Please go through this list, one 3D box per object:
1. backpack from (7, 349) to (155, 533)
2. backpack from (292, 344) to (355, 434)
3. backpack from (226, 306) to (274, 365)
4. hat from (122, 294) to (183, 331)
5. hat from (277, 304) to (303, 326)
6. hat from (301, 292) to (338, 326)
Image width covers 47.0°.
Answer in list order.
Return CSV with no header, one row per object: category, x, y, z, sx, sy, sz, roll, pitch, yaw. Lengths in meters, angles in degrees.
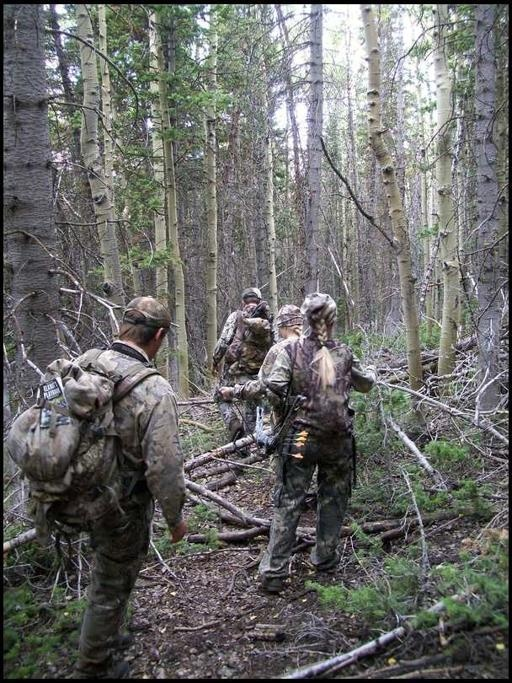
backpack,-0.995,0.597,3.389,0.361,0.988,0.691,0,2,44
backpack,0.495,0.332,4.466,0.483,0.694,0.265,-2,2,0
backpack,-0.079,-0.056,7.508,0.441,0.729,0.279,26,31,-1
hat,-0.653,-0.187,3.779,0.181,0.143,0.284,5,-7,38
hat,0.309,-0.251,5.493,0.210,0.185,0.189,4,8,24
hat,0.493,-0.268,4.628,0.210,0.245,0.266,2,-1,18
